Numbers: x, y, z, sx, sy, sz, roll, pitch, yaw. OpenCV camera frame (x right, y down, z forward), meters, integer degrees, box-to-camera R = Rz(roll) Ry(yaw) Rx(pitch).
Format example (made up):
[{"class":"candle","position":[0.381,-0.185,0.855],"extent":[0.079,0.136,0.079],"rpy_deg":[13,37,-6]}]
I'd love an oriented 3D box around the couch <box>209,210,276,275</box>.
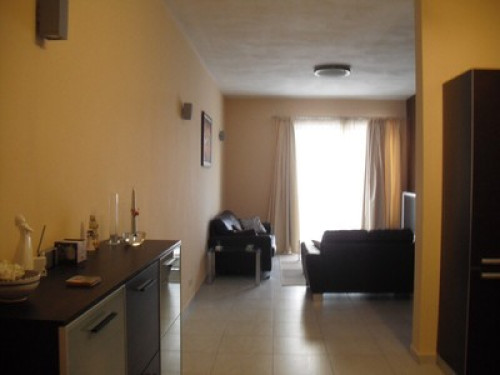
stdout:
[{"class":"couch","position":[-0.128,0.861,6.276],"extent":[0.696,0.716,1.306],"rpy_deg":[0,1,2]}]

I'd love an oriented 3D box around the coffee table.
[{"class":"coffee table","position":[-0.232,1.200,5.733],"extent":[0.767,0.554,0.442],"rpy_deg":[-1,-7,4]}]

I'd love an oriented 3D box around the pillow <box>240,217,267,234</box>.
[{"class":"pillow","position":[0.074,0.642,7.004],"extent":[0.286,0.323,0.096],"rpy_deg":[-8,-7,-12]}]
